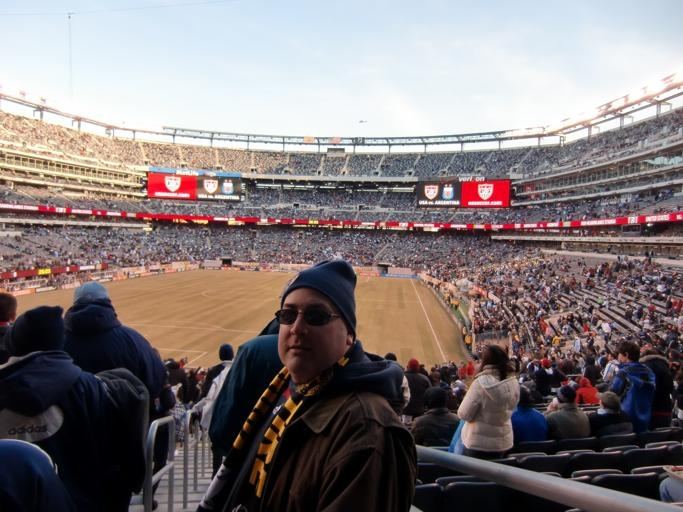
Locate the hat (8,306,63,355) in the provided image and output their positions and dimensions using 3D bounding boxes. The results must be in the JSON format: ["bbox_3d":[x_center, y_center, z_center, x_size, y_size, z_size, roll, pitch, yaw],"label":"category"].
[{"bbox_3d":[-2.169,0.545,2.970,0.311,0.378,0.297,0,3,-34],"label":"hat"}]

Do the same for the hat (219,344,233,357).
[{"bbox_3d":[-1.679,1.402,6.047,0.189,0.191,0.212,6,-14,-5],"label":"hat"}]

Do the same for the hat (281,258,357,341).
[{"bbox_3d":[0.017,0.241,2.529,0.425,0.410,0.538,1,-6,23],"label":"hat"}]

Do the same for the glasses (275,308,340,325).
[{"bbox_3d":[-0.223,0.356,2.424,0.380,0.112,0.116,2,2,27],"label":"glasses"}]

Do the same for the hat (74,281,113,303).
[{"bbox_3d":[-2.451,0.367,4.093,0.332,0.219,0.236,-9,-10,39],"label":"hat"}]
